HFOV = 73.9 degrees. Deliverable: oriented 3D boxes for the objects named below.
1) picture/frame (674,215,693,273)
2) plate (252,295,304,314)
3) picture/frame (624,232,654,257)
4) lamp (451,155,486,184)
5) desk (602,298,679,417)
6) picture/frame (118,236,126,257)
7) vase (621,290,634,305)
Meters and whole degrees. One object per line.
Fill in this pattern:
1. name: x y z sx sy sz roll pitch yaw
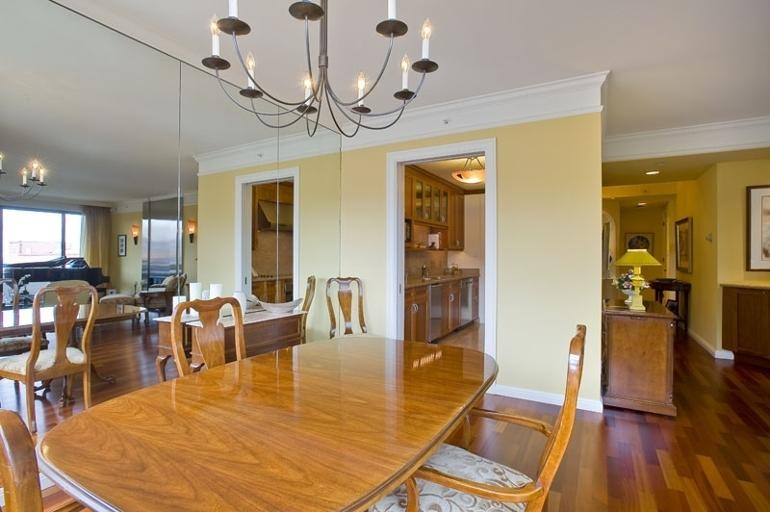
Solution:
1. picture/frame: 4.503 -0.190 7.710 0.066 0.895 0.880 -1 1 21
2. plate: -1.119 0.496 5.247 0.129 0.203 0.586 12 5 39
3. picture/frame: 4.596 -0.218 9.213 0.543 0.574 0.054 2 -13 42
4. lamp: 1.186 -1.191 7.202 0.403 0.427 0.417 1 -2 24
5. desk: 2.573 1.036 5.239 0.744 1.025 1.346 -1 -2 30
6. picture/frame: -2.113 -0.086 4.103 0.073 0.119 0.021 -2 1 -29
7. vase: 2.505 0.431 5.292 0.148 0.171 0.152 -2 -4 33
